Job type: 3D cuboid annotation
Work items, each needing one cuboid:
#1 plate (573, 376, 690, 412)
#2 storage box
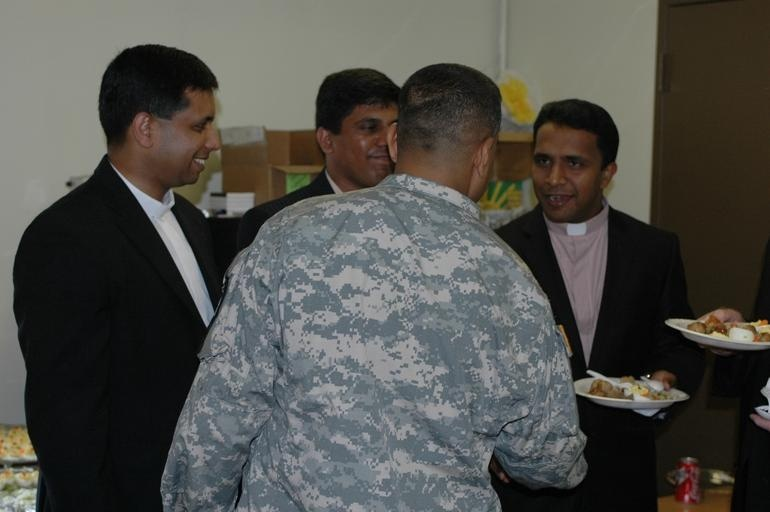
[{"bbox_3d":[1.015,0.567,3.174,0.453,0.129,0.289,1,7,13],"label":"plate"},{"bbox_3d":[-0.658,-0.488,4.628,0.505,0.494,0.506,-1,3,12],"label":"storage box"}]
